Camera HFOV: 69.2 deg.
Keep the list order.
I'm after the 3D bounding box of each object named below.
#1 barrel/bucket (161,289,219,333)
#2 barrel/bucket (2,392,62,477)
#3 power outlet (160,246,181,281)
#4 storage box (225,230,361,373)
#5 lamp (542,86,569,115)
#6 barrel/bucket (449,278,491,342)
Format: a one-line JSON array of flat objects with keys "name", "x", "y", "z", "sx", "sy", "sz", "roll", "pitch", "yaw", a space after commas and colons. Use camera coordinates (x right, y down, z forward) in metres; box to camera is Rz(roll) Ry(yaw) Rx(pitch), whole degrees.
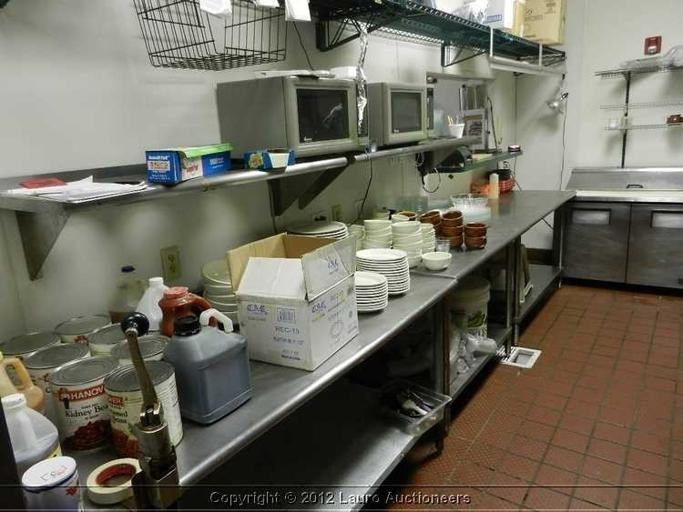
[{"name": "barrel/bucket", "x": -0.519, "y": 0.184, "z": 1.688, "sx": 0.129, "sy": 0.160, "sz": 0.195, "roll": 4, "pitch": 1, "yaw": 39}, {"name": "barrel/bucket", "x": -0.842, "y": 0.490, "z": 1.347, "sx": 0.103, "sy": 0.251, "sz": 0.155, "roll": -16, "pitch": 20, "yaw": -33}, {"name": "power outlet", "x": -0.760, "y": 0.034, "z": 2.169, "sx": 0.018, "sy": 0.168, "sz": 0.130, "roll": 6, "pitch": 14, "yaw": 27}, {"name": "storage box", "x": -0.165, "y": 0.161, "z": 1.839, "sx": 0.345, "sy": 0.438, "sz": 0.332, "roll": 5, "pitch": 18, "yaw": 29}, {"name": "lamp", "x": 2.323, "y": -1.680, "z": 5.327, "sx": 0.160, "sy": 0.247, "sz": 0.222, "roll": 17, "pitch": -19, "yaw": 50}, {"name": "barrel/bucket", "x": 0.818, "y": 0.329, "z": 3.144, "sx": 0.362, "sy": 0.370, "sz": 0.372, "roll": -3, "pitch": 5, "yaw": 0}]
